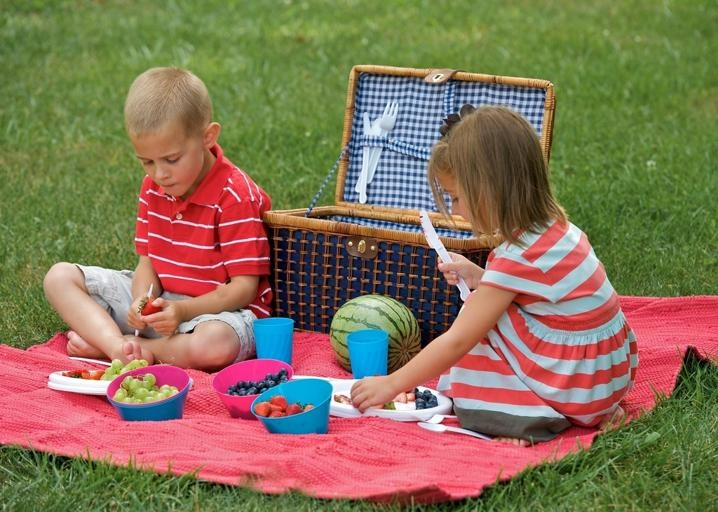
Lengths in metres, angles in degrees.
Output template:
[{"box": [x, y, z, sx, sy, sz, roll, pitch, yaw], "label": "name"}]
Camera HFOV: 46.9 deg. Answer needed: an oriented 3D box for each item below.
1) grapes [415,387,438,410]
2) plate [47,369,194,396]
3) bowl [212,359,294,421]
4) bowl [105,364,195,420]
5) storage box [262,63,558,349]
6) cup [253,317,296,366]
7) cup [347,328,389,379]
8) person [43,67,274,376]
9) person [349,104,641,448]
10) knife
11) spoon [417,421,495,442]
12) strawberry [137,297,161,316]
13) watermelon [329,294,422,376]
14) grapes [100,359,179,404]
[{"box": [0.320, 0.672, 3.892, 0.082, 0.049, 0.138, 0, 13, 3], "label": "grapes"}, {"box": [-1.291, 0.599, 3.854, 0.282, 0.049, 0.293, 12, 3, 29], "label": "plate"}, {"box": [-0.552, 0.553, 3.971, 0.349, 0.260, 0.469, 12, 15, 43], "label": "bowl"}, {"box": [-0.911, 0.624, 3.775, 0.269, 0.130, 0.280, -4, 21, 1], "label": "bowl"}, {"box": [0.265, -0.314, 4.553, 1.295, 1.403, 1.005, 9, 12, 26], "label": "storage box"}, {"box": [-0.419, 0.419, 4.190, 0.217, 0.256, 0.213, -1, 3, 0], "label": "cup"}, {"box": [0.053, 0.452, 4.090, 0.219, 0.249, 0.209, -2, 6, 0], "label": "cup"}, {"box": [-1.054, -0.048, 4.472, 0.783, 1.823, 0.989, 3, 8, 31], "label": "person"}, {"box": [0.600, 0.063, 3.948, 1.344, 1.534, 0.943, -6, 12, -14], "label": "person"}, {"box": [0.445, 0.042, 4.032, 0.124, 0.744, 0.041, -27, 44, 5], "label": "knife"}, {"box": [0.447, 0.791, 3.738, 0.338, 0.044, 0.052, 4, -11, 23], "label": "spoon"}, {"box": [-1.048, 0.255, 4.144, 0.086, 0.085, 0.085, 51, 30, 19], "label": "strawberry"}, {"box": [0.128, 0.357, 4.375, 0.407, 0.395, 0.644, -11, 17, -33], "label": "watermelon"}, {"box": [-0.972, 0.580, 3.835, 0.312, 0.144, 0.291, 2, 11, 41], "label": "grapes"}]
